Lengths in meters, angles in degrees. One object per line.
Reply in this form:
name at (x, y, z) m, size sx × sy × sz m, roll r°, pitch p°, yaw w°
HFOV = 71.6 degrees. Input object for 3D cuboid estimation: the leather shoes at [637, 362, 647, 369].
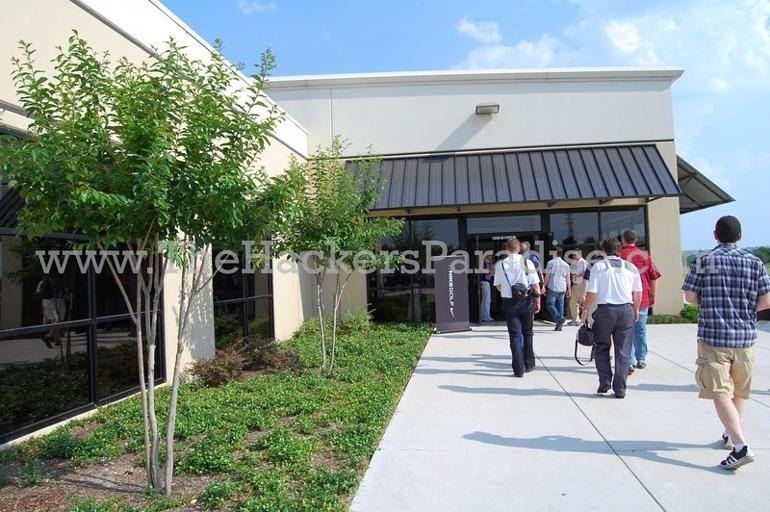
leather shoes at (4.934, 2.086, 10.252) m, size 0.098 × 0.074 × 0.145 m, roll 1°, pitch -1°, yaw 14°

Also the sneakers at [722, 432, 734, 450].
sneakers at (4.628, 2.497, 7.233) m, size 0.084 × 0.105 × 0.264 m, roll -1°, pitch 30°, yaw 11°

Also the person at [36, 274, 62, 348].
person at (-5.110, 0.823, 8.173) m, size 0.186 × 1.127 × 0.422 m, roll 0°, pitch 9°, yaw 4°

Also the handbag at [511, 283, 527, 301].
handbag at (2.429, 0.635, 9.696) m, size 0.205 × 0.307 × 0.305 m, roll -1°, pitch -9°, yaw 11°
